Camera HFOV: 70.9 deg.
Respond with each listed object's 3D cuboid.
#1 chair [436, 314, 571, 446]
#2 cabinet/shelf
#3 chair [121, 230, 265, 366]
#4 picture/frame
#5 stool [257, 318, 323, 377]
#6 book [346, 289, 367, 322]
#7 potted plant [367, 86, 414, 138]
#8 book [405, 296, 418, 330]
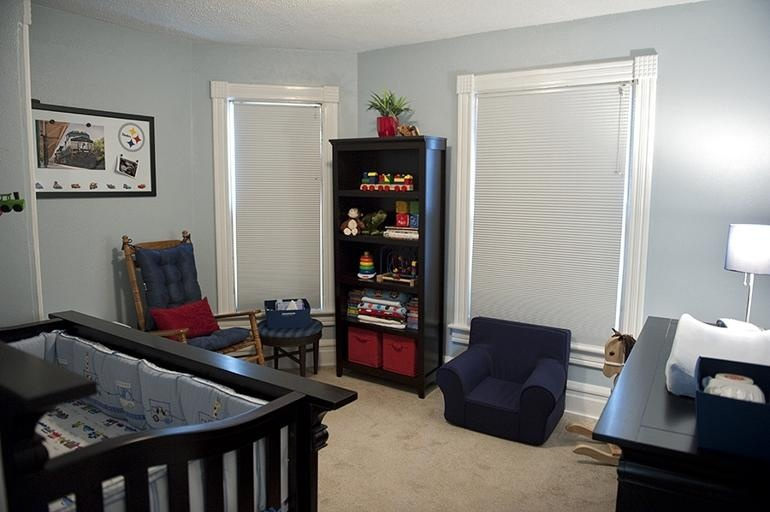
[{"bbox_3d":[0.992,1.008,4.416,0.904,0.743,0.735,8,17,32],"label":"chair"},{"bbox_3d":[0.037,0.064,5.096,1.020,2.292,0.589,4,11,29],"label":"cabinet/shelf"},{"bbox_3d":[-1.639,0.500,4.657,0.997,1.292,0.918,4,13,25],"label":"chair"},{"bbox_3d":[-2.449,-0.837,4.578,0.051,0.777,1.127,16,14,28],"label":"picture/frame"},{"bbox_3d":[-0.840,0.879,5.090,0.438,0.441,0.483,4,0,15],"label":"stool"},{"bbox_3d":[-0.260,0.483,5.204,0.187,0.249,0.085,0,-9,43],"label":"book"},{"bbox_3d":[0.035,-1.281,4.954,0.364,0.369,0.350,8,11,20],"label":"potted plant"},{"bbox_3d":[0.254,0.525,4.896,0.166,0.279,0.092,6,12,38],"label":"book"}]
